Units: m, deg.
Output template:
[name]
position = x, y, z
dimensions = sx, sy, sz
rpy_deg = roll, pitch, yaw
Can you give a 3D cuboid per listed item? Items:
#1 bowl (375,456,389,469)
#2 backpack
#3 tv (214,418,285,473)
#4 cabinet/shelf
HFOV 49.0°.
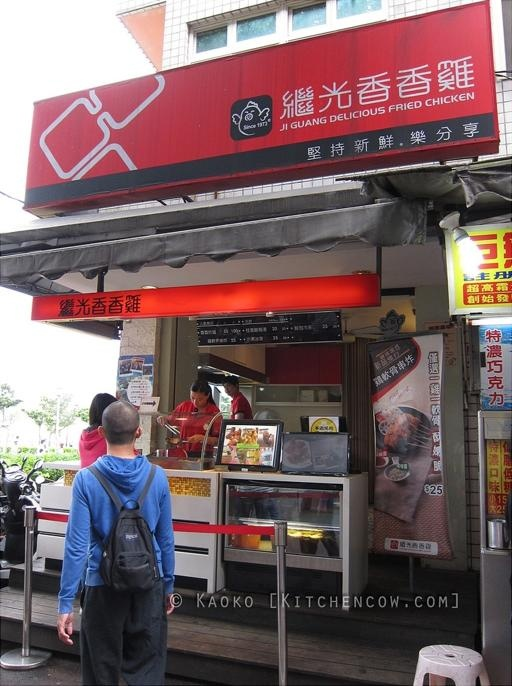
[bowl]
position = 1.018, 0.958, 4.521
dimensions = 0.023, 0.092, 0.121
rpy_deg = 6, -12, -38
[backpack]
position = -0.571, 0.800, 2.459
dimensions = 0.307, 0.514, 0.290
rpy_deg = 2, -10, -19
[tv]
position = -0.039, 0.849, 4.576
dimensions = 0.437, 0.313, 0.092
rpy_deg = -1, -33, 18
[cabinet/shelf]
position = 0.291, 1.514, 4.530
dimensions = 1.056, 0.917, 0.749
rpy_deg = 0, -9, 11
